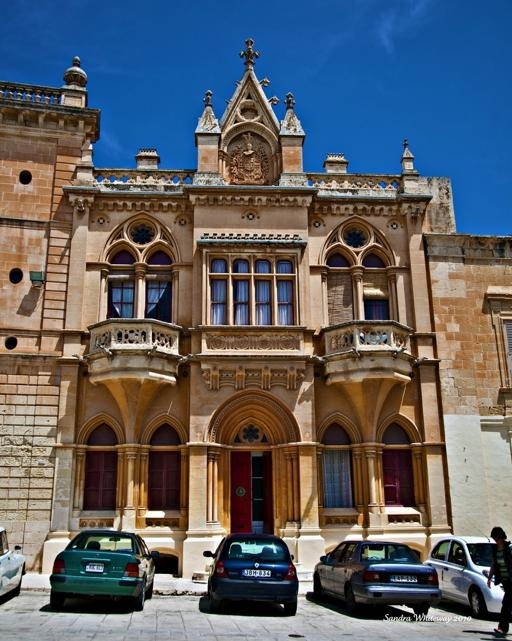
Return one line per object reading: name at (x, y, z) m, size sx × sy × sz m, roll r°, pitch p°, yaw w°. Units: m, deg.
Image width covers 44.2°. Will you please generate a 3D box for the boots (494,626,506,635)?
boots at (3.424, 4.368, 8.810) m, size 0.085 × 0.187 × 0.065 m, roll -6°, pitch -21°, yaw -24°
